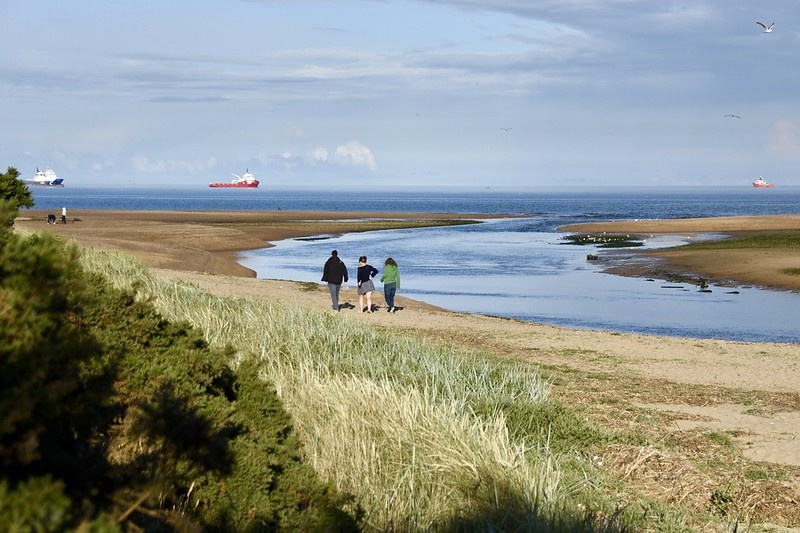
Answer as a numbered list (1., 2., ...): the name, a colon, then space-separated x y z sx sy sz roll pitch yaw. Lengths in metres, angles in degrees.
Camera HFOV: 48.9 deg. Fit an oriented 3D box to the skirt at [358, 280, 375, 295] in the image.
1. skirt: -0.898 0.558 24.205 0.601 0.410 0.343 -5 34 -3
